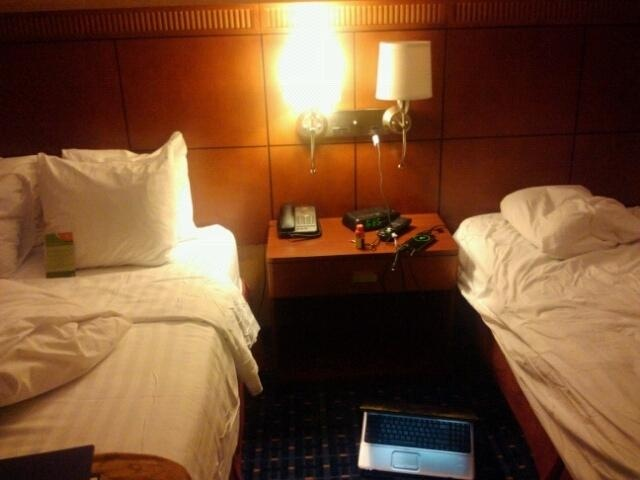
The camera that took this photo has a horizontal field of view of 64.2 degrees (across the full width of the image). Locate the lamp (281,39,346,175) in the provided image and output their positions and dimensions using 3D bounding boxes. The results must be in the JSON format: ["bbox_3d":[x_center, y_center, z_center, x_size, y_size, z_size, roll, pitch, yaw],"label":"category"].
[{"bbox_3d":[-0.046,-0.772,2.729,0.317,0.594,0.150,4,12,17],"label":"lamp"}]

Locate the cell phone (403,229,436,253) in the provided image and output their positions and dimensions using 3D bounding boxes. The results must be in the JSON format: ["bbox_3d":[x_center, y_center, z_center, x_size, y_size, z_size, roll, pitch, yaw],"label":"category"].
[{"bbox_3d":[0.505,0.006,2.577,0.171,0.055,0.087,-25,43,-25],"label":"cell phone"}]

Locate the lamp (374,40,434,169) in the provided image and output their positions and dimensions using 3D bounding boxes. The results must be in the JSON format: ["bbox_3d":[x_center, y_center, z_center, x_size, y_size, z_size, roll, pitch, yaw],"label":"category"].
[{"bbox_3d":[0.434,-0.703,2.670,0.304,0.652,0.336,2,12,12],"label":"lamp"}]

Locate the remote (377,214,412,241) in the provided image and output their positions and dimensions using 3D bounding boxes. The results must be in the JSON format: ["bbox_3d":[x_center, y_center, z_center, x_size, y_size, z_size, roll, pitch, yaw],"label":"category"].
[{"bbox_3d":[0.407,-0.074,2.725,0.084,0.063,0.248,1,22,22],"label":"remote"}]

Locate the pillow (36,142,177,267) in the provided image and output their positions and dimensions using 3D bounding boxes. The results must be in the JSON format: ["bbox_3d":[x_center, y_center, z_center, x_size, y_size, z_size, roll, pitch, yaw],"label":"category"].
[{"bbox_3d":[-0.985,-0.138,2.370,0.529,0.536,0.209,-2,-8,-16],"label":"pillow"}]

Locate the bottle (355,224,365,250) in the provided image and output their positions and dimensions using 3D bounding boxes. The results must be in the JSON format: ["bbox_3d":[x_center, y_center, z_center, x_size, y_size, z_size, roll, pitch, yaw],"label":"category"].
[{"bbox_3d":[0.203,-0.016,2.570,0.048,0.118,0.102,1,12,4],"label":"bottle"}]

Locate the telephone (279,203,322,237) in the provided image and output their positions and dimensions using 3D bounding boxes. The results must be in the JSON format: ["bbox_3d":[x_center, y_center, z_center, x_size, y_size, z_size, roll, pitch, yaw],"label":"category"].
[{"bbox_3d":[-0.110,-0.105,2.765,0.224,0.145,0.242,-1,12,-4],"label":"telephone"}]

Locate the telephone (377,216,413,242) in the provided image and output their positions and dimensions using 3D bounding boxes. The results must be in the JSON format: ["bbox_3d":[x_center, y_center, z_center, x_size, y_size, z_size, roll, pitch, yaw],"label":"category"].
[{"bbox_3d":[0.407,-0.081,2.719,0.085,0.065,0.249,2,22,24],"label":"telephone"}]
